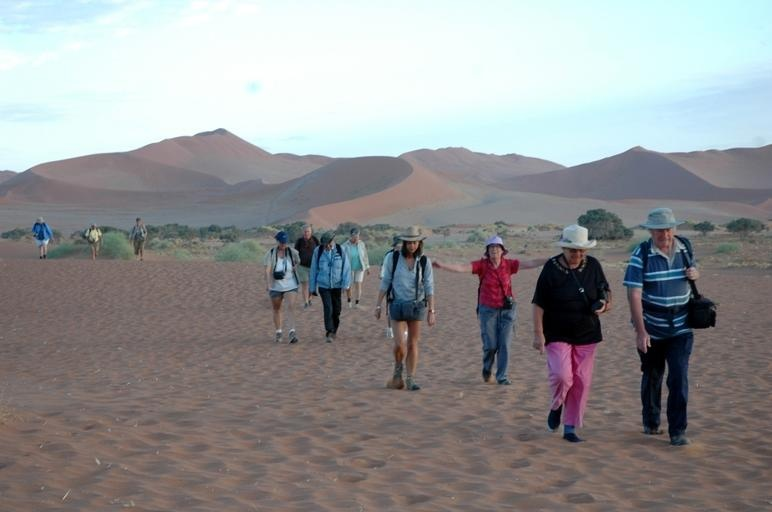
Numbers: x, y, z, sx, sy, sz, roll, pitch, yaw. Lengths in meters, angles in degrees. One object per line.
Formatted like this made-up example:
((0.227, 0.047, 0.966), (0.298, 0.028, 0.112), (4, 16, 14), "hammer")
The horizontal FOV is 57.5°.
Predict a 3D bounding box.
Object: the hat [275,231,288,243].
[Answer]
((-1.724, -0.307, 11.793), (0.190, 0.214, 0.380), (-1, 7, -9), "hat")

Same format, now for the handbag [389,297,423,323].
((0.277, 0.713, 9.155), (0.465, 0.274, 0.271), (0, 1, -4), "handbag")

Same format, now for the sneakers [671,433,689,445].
((3.184, 2.000, 7.716), (0.224, 0.130, 0.080), (-8, 14, -12), "sneakers")

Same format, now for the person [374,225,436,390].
((0.239, 0.726, 9.350), (0.748, 2.247, 0.424), (0, 7, -1), "person")

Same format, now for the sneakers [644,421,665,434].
((3.024, 1.957, 7.995), (0.137, 0.061, 0.173), (1, -1, 10), "sneakers")

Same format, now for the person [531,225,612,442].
((2.051, 0.856, 7.834), (0.791, 2.400, 0.619), (2, 8, 16), "person")

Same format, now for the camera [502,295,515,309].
((1.659, 0.634, 9.600), (0.163, 0.207, 0.128), (12, 18, 39), "camera")

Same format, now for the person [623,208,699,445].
((2.968, 0.772, 7.675), (0.720, 2.566, 0.575), (3, 8, 20), "person")

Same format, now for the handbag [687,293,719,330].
((3.418, 0.597, 7.663), (0.372, 0.342, 0.285), (-3, 9, 18), "handbag")

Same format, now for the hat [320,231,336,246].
((-0.991, -0.297, 11.981), (0.232, 0.227, 0.385), (0, 7, -5), "hat")
